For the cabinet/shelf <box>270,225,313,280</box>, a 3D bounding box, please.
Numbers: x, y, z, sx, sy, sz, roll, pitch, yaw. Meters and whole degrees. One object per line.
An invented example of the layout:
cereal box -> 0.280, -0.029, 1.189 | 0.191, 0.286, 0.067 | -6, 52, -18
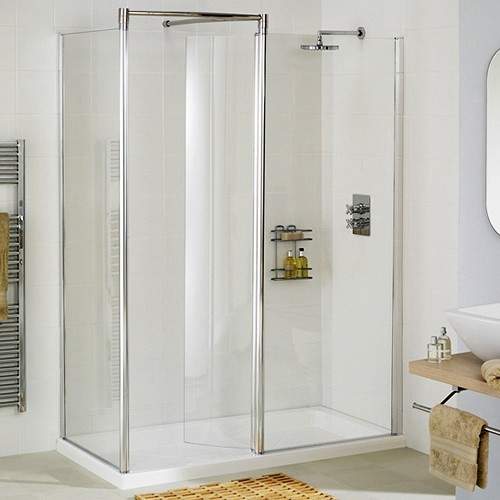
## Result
cabinet/shelf -> 0.199, 0.010, 3.066 | 0.241, 0.342, 0.091 | -1, 1, -25
